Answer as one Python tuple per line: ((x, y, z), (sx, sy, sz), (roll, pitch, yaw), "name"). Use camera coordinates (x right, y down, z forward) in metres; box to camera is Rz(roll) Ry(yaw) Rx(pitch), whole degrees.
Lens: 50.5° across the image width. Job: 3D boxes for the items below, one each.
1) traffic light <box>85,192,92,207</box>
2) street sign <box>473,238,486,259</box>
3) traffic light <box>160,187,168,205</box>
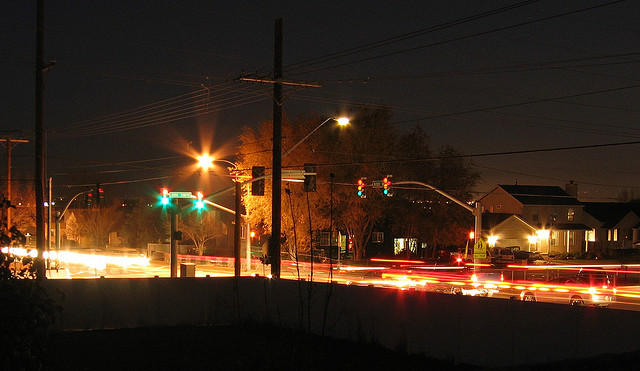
((-21.411, 1.233, 62.619), (0.559, 1.032, 1.270), (-4, 1, -17), "traffic light")
((9.333, 3.691, 39.573), (0.596, 1.215, 0.649), (-3, 2, 20), "street sign")
((-9.577, 0.687, 41.359), (0.512, 0.735, 0.494), (-4, 2, -4), "traffic light")
